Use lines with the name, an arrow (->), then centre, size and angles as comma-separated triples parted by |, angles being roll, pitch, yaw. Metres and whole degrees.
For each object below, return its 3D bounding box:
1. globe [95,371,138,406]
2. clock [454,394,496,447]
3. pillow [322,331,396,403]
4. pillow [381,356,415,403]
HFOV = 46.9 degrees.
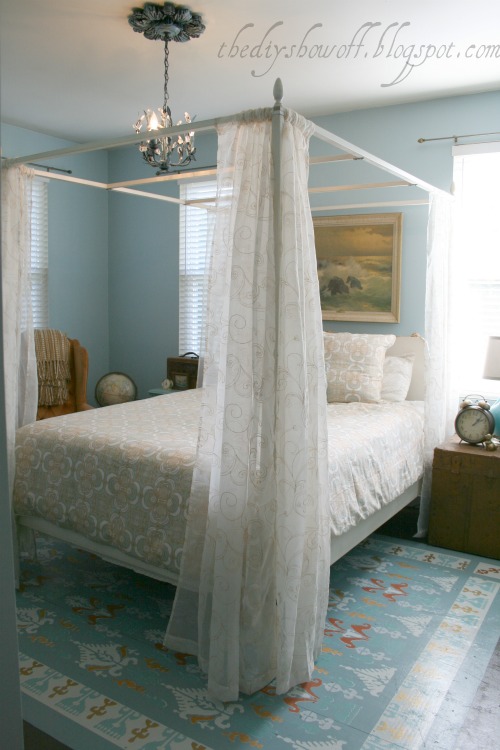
globe -> -1.226, 0.134, 5.274 | 0.345, 0.346, 0.230 | 9, 9, -6
clock -> 1.265, 0.273, 3.246 | 0.263, 0.359, 0.136 | -2, 2, 43
pillow -> 0.678, -0.063, 3.698 | 0.465, 0.432, 0.143 | 2, -15, 9
pillow -> 0.964, 0.034, 3.759 | 0.256, 0.264, 0.121 | 3, -21, 13
